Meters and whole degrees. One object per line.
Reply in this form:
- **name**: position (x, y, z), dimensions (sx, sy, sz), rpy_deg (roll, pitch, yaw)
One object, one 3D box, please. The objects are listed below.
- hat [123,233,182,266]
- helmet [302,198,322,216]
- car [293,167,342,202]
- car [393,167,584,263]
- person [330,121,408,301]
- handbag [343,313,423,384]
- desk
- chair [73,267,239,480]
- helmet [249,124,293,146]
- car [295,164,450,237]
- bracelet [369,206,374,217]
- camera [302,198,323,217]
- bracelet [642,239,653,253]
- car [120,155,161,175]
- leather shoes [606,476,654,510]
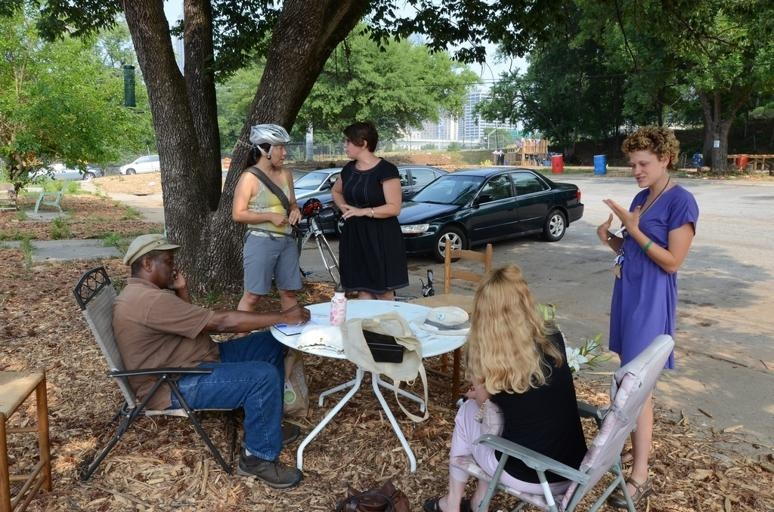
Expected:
- **hat**: position (-2.159, -0.077, 5.723), dimensions (0.428, 0.176, 0.286), rpy_deg (-9, 5, -22)
- **helmet**: position (-1.183, -0.768, 9.723), dimensions (0.234, 0.122, 0.320), rpy_deg (14, -34, -33)
- **car**: position (-1.861, -1.830, 15.970), dimensions (0.883, 0.652, 1.525), rpy_deg (4, 6, 45)
- **car**: position (2.129, -0.942, 13.098), dimensions (4.123, 1.318, 1.719), rpy_deg (-6, 2, -35)
- **person**: position (-0.192, -0.496, 7.199), dimensions (0.864, 2.045, 0.614), rpy_deg (1, 11, 6)
- **handbag**: position (-0.050, 0.808, 5.535), dimensions (0.697, 0.547, 0.380), rpy_deg (-1, 10, -3)
- **desk**: position (-0.230, 0.925, 5.979), dimensions (1.677, 1.009, 1.614), rpy_deg (-10, 16, -43)
- **chair**: position (-2.215, 1.008, 6.518), dimensions (1.912, 2.229, 1.693), rpy_deg (-1, 3, -11)
- **helmet**: position (-1.331, -1.364, 7.010), dimensions (0.351, 0.131, 0.263), rpy_deg (-5, 19, 8)
- **car**: position (-0.206, -1.457, 15.933), dimensions (4.236, 1.305, 1.766), rpy_deg (-3, 3, -27)
- **bracelet**: position (-0.174, -0.491, 7.108), dimensions (0.067, 0.085, 0.038), rpy_deg (6, 0, 3)
- **camera**: position (-1.175, -0.772, 9.706), dimensions (0.238, 0.126, 0.331), rpy_deg (13, -34, -33)
- **bracelet**: position (2.207, -0.083, 5.316), dimensions (0.023, 0.089, 0.093), rpy_deg (28, -32, 0)
- **car**: position (-17.194, -6.422, 43.903), dimensions (2.160, 1.200, 6.033), rpy_deg (-4, 10, -22)
- **leather shoes**: position (2.085, 2.069, 5.444), dimensions (0.422, 0.181, 0.211), rpy_deg (-23, 2, -16)
